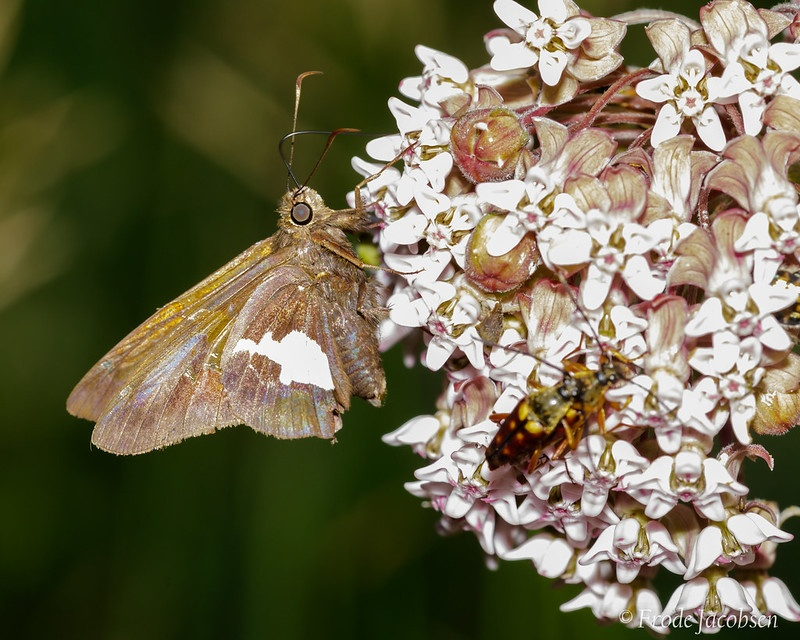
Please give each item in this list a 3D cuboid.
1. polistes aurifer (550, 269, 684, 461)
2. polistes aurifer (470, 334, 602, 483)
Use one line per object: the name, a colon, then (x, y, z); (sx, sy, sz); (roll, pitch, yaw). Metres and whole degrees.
polistes aurifer: (0.936, 0.166, 3.976); (0.407, 0.384, 0.762); (0, -86, 2)
polistes aurifer: (0.632, 0.364, 3.991); (0.714, 0.446, 0.197); (-36, -28, 2)
